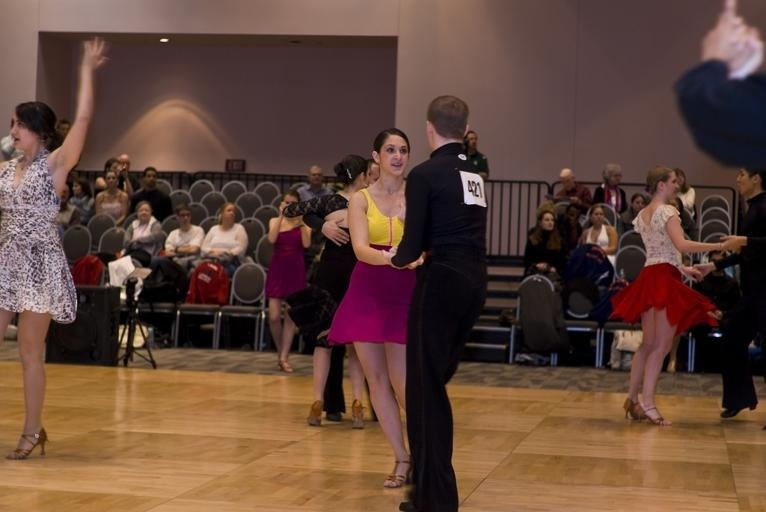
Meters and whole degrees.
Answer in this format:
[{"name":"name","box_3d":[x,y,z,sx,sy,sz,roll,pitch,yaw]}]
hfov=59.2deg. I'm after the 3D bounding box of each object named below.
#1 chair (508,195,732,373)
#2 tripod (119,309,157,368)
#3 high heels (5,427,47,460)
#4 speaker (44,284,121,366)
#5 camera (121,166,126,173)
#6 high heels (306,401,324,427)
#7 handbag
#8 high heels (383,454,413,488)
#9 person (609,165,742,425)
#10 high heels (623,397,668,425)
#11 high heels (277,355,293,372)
[{"name":"chair","box_3d":[2.771,0.095,8.676,2.088,3.442,2.336,0,-12,15]},{"name":"tripod","box_3d":[-2.919,0.896,7.993,0.379,0.915,0.376,-1,7,-34]},{"name":"high heels","box_3d":[-2.322,1.252,4.413,0.287,0.206,0.125,8,-16,-38]},{"name":"speaker","box_3d":[-3.526,0.789,7.913,0.682,1.066,0.614,4,3,-7]},{"name":"camera","box_3d":[-4.633,-1.567,11.991,0.098,0.101,0.039,3,-1,-44]},{"name":"high heels","box_3d":[-0.550,1.274,5.435,0.119,0.086,0.269,36,-10,-3]},{"name":"handbag","box_3d":[-3.206,0.309,9.441,1.436,0.633,1.021,0,-2,18]},{"name":"high heels","box_3d":[0.083,1.315,4.017,0.083,0.113,0.264,-4,-11,10]},{"name":"person","box_3d":[2.398,0.330,5.818,0.803,2.001,0.420,2,0,23]},{"name":"high heels","box_3d":[2.255,1.347,5.880,0.387,0.201,0.157,7,-5,19]},{"name":"high heels","box_3d":[-1.160,1.284,7.956,0.089,0.144,0.310,-2,-7,-25]}]
